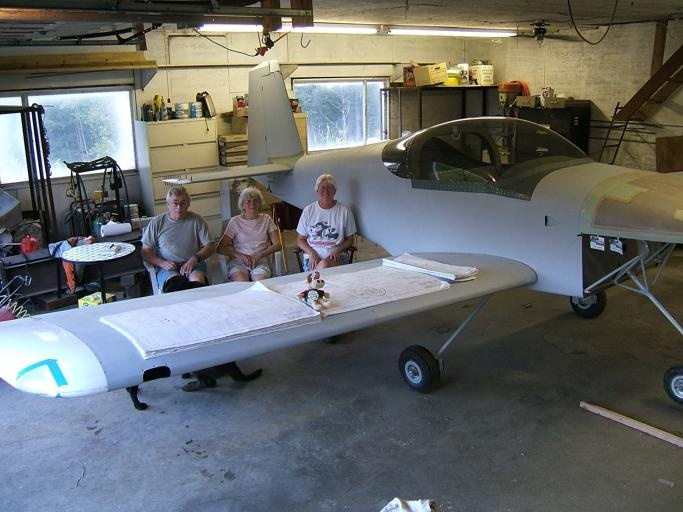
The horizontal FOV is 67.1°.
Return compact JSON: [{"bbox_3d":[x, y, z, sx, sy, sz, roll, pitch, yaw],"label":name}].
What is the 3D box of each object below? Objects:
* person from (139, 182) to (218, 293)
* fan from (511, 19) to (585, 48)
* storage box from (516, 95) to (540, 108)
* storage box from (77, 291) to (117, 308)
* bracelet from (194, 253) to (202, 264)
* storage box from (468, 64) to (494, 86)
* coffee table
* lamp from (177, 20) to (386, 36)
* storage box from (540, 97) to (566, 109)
[{"bbox_3d":[-1.382,-0.034,4.408,0.714,0.984,0.620,-6,24,-23],"label":"person"},{"bbox_3d":[3.161,-3.441,7.915,0.931,0.251,0.793,-2,14,-2],"label":"fan"},{"bbox_3d":[2.979,-2.433,8.214,0.277,0.103,0.247,-8,15,-33],"label":"storage box"},{"bbox_3d":[-2.074,0.369,4.344,0.284,0.140,0.258,1,10,23],"label":"storage box"},{"bbox_3d":[-1.212,0.022,4.353,0.072,0.055,0.023,5,-19,-40],"label":"bracelet"},{"bbox_3d":[2.459,-3.080,8.869,0.486,0.371,0.442,-7,16,-23],"label":"storage box"},{"bbox_3d":[-2.058,0.205,4.429,0.594,0.500,0.544,-16,23,-32],"label":"coffee table"},{"bbox_3d":[-0.651,-2.507,5.666,2.097,0.090,0.278,-11,19,-19],"label":"lamp"},{"bbox_3d":[3.311,-2.376,8.036,0.262,0.120,0.234,-2,4,-26],"label":"storage box"}]
